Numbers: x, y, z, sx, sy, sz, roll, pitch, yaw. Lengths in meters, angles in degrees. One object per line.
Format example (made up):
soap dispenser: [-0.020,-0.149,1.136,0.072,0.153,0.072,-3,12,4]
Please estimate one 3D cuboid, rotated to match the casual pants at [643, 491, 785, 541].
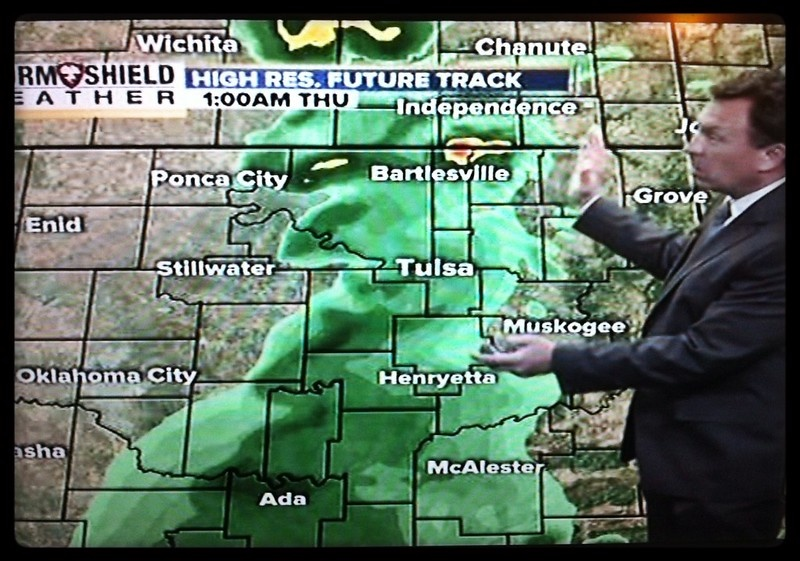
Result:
casual pants: [1.078,0.834,3.438,0.316,0.061,0.204,2,97,3]
